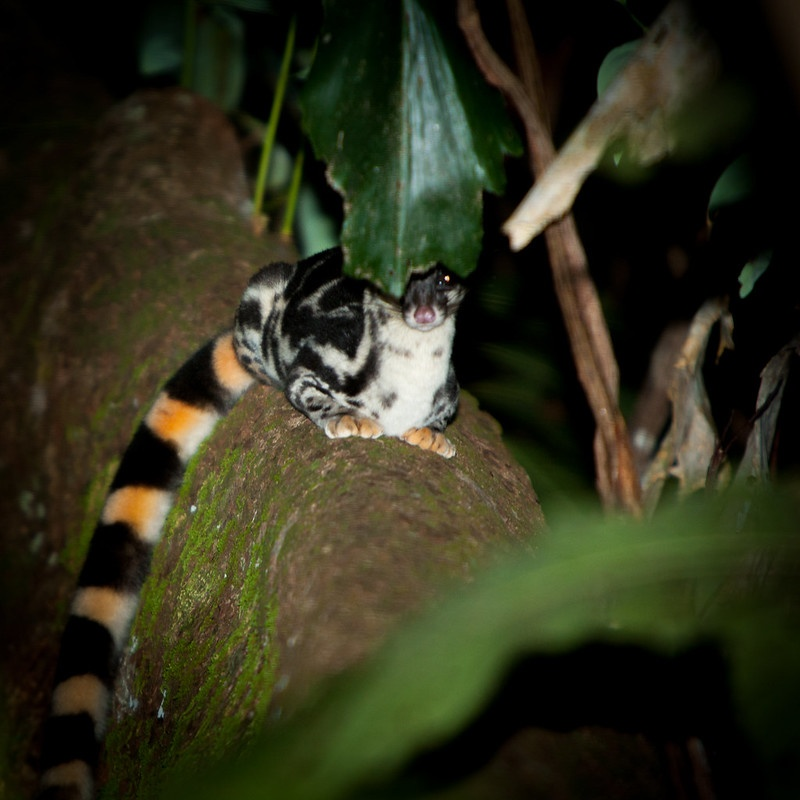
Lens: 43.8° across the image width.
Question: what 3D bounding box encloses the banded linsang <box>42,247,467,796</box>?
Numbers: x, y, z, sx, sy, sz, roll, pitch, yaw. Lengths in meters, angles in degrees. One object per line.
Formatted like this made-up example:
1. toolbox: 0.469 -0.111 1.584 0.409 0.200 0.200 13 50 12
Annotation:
1. banded linsang: -0.276 0.091 2.834 0.528 0.767 1.905 20 62 31
